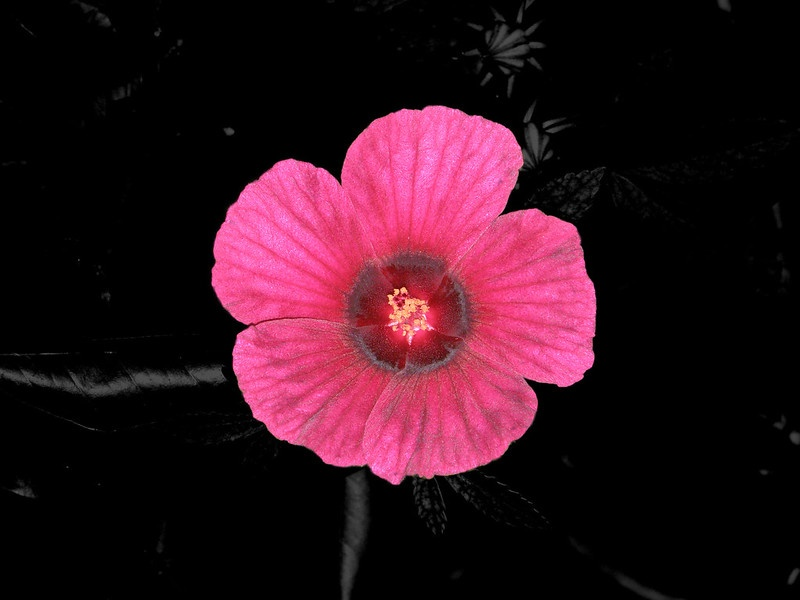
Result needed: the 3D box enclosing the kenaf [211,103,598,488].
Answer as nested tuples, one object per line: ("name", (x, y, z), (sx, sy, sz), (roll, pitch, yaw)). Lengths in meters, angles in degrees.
("kenaf", (0.002, 0.005, 1.160), (0.546, 0.148, 0.546), (-17, 84, -2))
